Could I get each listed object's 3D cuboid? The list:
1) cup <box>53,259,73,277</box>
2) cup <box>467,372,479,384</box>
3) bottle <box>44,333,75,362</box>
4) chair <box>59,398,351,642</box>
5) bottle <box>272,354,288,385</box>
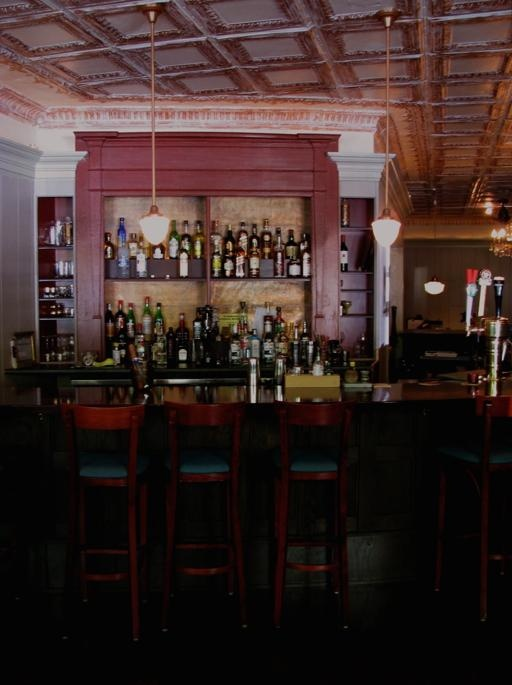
[{"bbox_3d":[-1.639,-0.632,5.569,0.200,0.189,0.149,4,11,20],"label":"cup"},{"bbox_3d":[1.272,0.208,3.789,0.080,0.080,0.078,2,-2,0],"label":"cup"},{"bbox_3d":[-1.671,0.046,5.575,0.238,0.217,0.084,-1,-6,10],"label":"bottle"},{"bbox_3d":[-0.226,0.827,2.984,0.957,0.700,0.376,0,3,-1],"label":"chair"},{"bbox_3d":[0.137,0.142,3.683,0.080,0.146,0.033,0,-9,8],"label":"bottle"}]
